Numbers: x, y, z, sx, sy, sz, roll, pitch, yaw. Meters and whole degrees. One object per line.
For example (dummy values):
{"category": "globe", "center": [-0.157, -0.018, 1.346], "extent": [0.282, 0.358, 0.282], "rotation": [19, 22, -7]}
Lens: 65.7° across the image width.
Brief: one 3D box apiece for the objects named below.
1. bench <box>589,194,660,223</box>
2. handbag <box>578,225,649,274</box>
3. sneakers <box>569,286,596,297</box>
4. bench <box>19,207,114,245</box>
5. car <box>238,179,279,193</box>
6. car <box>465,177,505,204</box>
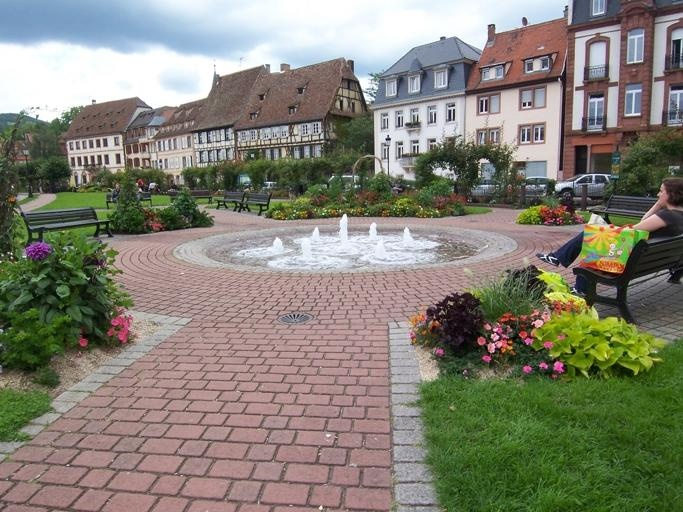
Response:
{"category": "bench", "center": [7.163, -1.206, 13.315], "extent": [0.809, 0.791, 1.889], "rotation": [-11, 11, -14]}
{"category": "handbag", "center": [3.459, -0.131, 6.671], "extent": [0.394, 0.639, 0.701], "rotation": [-19, 20, -33]}
{"category": "sneakers", "center": [3.088, 0.467, 6.851], "extent": [0.116, 0.148, 0.383], "rotation": [-1, -5, 36]}
{"category": "bench", "center": [-7.085, -0.780, 13.878], "extent": [0.810, 0.815, 2.557], "rotation": [3, 9, 12]}
{"category": "car", "center": [-6.443, -5.559, 41.530], "extent": [2.541, 0.718, 5.822], "rotation": [-8, 16, -18]}
{"category": "car", "center": [7.740, -3.669, 28.392], "extent": [1.478, 1.314, 5.395], "rotation": [0, 15, 13]}
